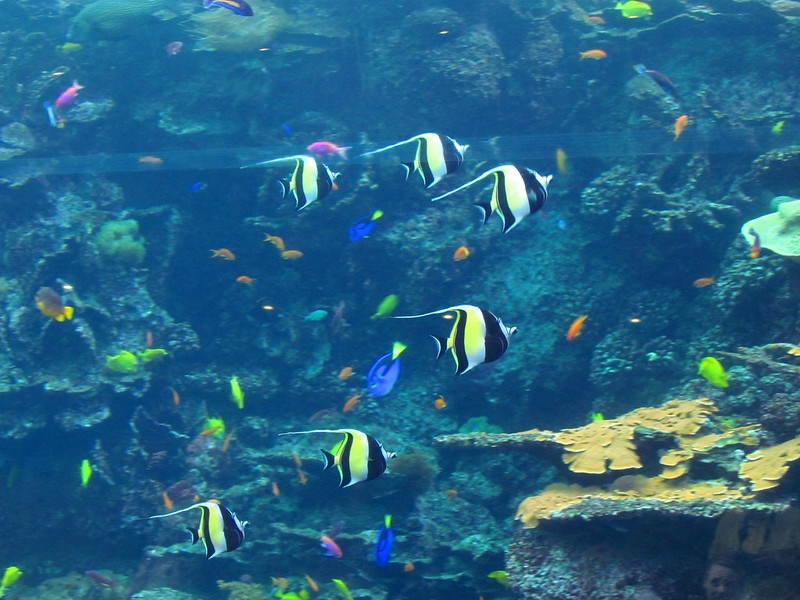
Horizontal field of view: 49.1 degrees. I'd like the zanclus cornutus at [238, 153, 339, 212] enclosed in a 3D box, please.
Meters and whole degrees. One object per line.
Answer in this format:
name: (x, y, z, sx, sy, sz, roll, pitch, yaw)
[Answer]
zanclus cornutus: (-1.352, -1.687, 12.299, 1.235, 0.624, 0.417, -23, 26, -40)
